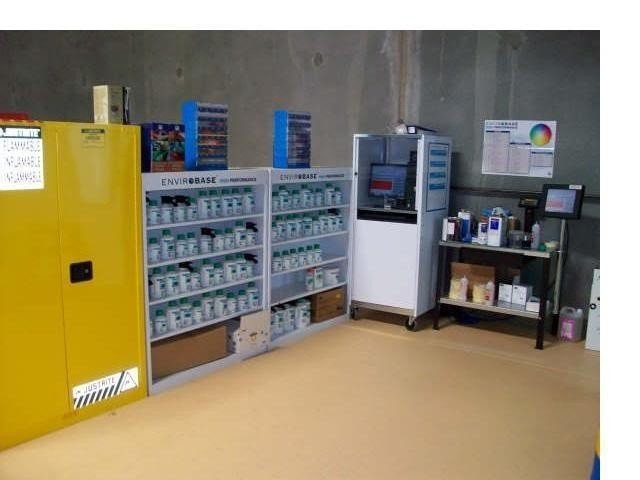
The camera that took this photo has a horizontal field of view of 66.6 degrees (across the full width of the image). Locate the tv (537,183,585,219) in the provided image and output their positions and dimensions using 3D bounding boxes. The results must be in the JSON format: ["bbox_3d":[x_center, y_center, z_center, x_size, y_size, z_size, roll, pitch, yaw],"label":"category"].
[{"bbox_3d":[2.215,-0.354,4.476,0.341,0.320,0.121,6,-3,37],"label":"tv"}]

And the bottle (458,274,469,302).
[{"bbox_3d":[1.442,0.484,4.893,0.097,0.250,0.180,4,11,16],"label":"bottle"}]

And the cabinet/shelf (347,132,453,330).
[{"bbox_3d":[0.826,-0.127,5.206,0.884,1.957,0.753,7,12,30],"label":"cabinet/shelf"}]

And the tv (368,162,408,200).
[{"bbox_3d":[0.714,-0.616,5.147,0.394,0.334,0.044,8,0,34],"label":"tv"}]

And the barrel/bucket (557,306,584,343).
[{"bbox_3d":[2.475,0.827,4.822,0.213,0.291,0.312,8,12,31],"label":"barrel/bucket"}]

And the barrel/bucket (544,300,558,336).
[{"bbox_3d":[2.326,0.772,4.899,0.117,0.355,0.642,7,11,26],"label":"barrel/bucket"}]

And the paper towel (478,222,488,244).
[{"bbox_3d":[1.582,-0.060,4.747,0.089,0.212,0.060,5,11,20],"label":"paper towel"}]

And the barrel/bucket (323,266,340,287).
[{"bbox_3d":[0.133,0.392,5.018,0.180,0.135,0.145,6,7,44],"label":"barrel/bucket"}]

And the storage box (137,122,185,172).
[{"bbox_3d":[-1.133,-0.650,3.443,0.165,0.345,0.356,5,8,27],"label":"storage box"}]

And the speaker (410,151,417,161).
[{"bbox_3d":[1.001,-0.903,5.267,0.082,0.111,0.040,5,10,34],"label":"speaker"}]

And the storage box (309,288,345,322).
[{"bbox_3d":[0.095,0.677,5.011,0.292,0.298,0.463,3,7,38],"label":"storage box"}]

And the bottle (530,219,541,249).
[{"bbox_3d":[2.060,-0.040,4.677,0.089,0.242,0.211,6,11,23],"label":"bottle"}]

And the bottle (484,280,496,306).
[{"bbox_3d":[1.648,0.513,4.755,0.095,0.221,0.129,5,11,20],"label":"bottle"}]

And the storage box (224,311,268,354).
[{"bbox_3d":[-0.603,0.783,4.206,0.338,0.347,0.348,3,6,42],"label":"storage box"}]

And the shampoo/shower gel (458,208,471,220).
[{"bbox_3d":[1.471,-0.256,4.981,0.076,0.132,0.126,18,34,37],"label":"shampoo/shower gel"}]
